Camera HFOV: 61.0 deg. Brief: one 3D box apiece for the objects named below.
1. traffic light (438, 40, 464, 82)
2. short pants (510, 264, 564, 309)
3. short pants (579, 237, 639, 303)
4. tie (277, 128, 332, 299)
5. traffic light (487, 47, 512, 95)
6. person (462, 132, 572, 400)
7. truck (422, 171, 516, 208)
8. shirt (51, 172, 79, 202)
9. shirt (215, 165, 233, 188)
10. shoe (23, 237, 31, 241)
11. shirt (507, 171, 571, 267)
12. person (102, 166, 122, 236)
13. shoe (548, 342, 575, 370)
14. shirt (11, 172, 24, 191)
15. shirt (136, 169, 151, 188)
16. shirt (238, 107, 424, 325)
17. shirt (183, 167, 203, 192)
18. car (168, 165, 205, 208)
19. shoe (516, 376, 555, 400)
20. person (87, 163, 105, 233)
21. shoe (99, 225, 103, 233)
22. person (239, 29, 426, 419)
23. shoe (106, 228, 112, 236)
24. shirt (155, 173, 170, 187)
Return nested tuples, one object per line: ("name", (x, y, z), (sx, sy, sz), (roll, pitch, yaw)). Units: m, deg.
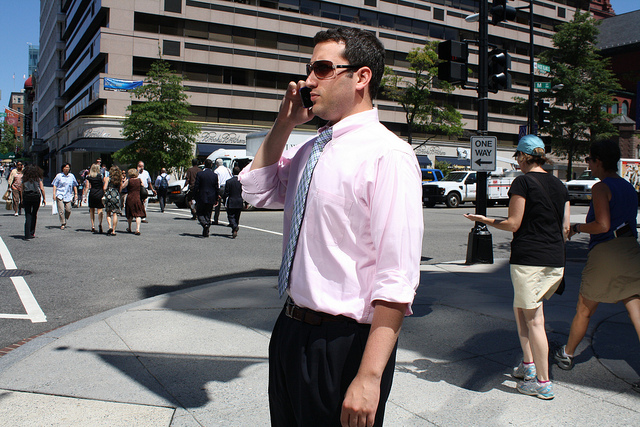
("traffic light", (2.796, -3.191, 11.480), (0.406, 0.757, 0.432), (0, 2, -36))
("short pants", (2.251, 0.730, 5.607), (0.407, 0.571, 0.559), (3, -2, 28))
("short pants", (3.175, 0.624, 5.876), (0.770, 0.805, 0.446), (0, -3, 19))
("tie", (-0.100, 0.006, 3.769), (0.174, 1.381, 0.070), (3, -26, 41))
("traffic light", (3.907, -3.054, 11.740), (0.470, 0.847, 0.489), (-2, 3, 36))
("person", (2.387, 0.462, 6.047), (0.731, 2.690, 1.291), (5, 7, 25))
("truck", (6.763, -1.098, 24.867), (5.365, 1.833, 2.092), (0, 0, -29))
("shirt", (-7.930, -0.814, 16.723), (0.586, 0.814, 0.980), (-1, 7, -26))
("shirt", (-3.590, -1.373, 19.942), (0.480, 0.873, 1.433), (1, 7, -10))
("shoe", (-7.449, 0.636, 13.721), (0.103, 0.140, 0.332), (0, 1, -41))
("shirt", (2.332, 0.051, 5.737), (0.659, 0.984, 0.376), (2, 6, 1))
("person", (-5.883, -0.384, 15.308), (0.442, 1.890, 1.069), (0, 7, -22))
("shoe", (2.787, 1.592, 6.210), (0.177, 0.227, 0.455), (10, 13, -1))
("shirt", (-10.137, -1.052, 17.992), (0.262, 0.635, 0.881), (-2, 8, -30))
("shirt", (-6.555, -1.260, 20.136), (0.339, 0.648, 1.225), (0, 7, -16))
("shirt", (0.098, -0.004, 3.986), (1.592, 1.436, 0.742), (11, 8, 42))
("shirt", (-4.235, -1.143, 17.873), (0.394, 0.711, 2.028), (1, 7, -14))
("car", (-6.421, -1.325, 25.353), (1.400, 1.589, 2.630), (-1, 5, 17))
("shoe", (2.228, 1.795, 5.645), (0.398, 0.211, 0.158), (5, 4, 36))
("person", (-6.595, -0.481, 15.864), (0.446, 1.921, 1.506), (-1, 7, -23))
("shoe", (-6.289, 0.424, 15.480), (0.084, 0.216, 0.198), (-1, 7, -23))
("person", (0.114, 0.091, 3.765), (1.210, 2.754, 0.639), (8, 8, 43))
("shoe", (-5.872, 0.490, 15.013), (0.129, 0.200, 0.257), (-2, 8, -32))
("shirt", (-6.834, -1.431, 23.322), (0.491, 0.696, 0.692), (2, -8, -13))
